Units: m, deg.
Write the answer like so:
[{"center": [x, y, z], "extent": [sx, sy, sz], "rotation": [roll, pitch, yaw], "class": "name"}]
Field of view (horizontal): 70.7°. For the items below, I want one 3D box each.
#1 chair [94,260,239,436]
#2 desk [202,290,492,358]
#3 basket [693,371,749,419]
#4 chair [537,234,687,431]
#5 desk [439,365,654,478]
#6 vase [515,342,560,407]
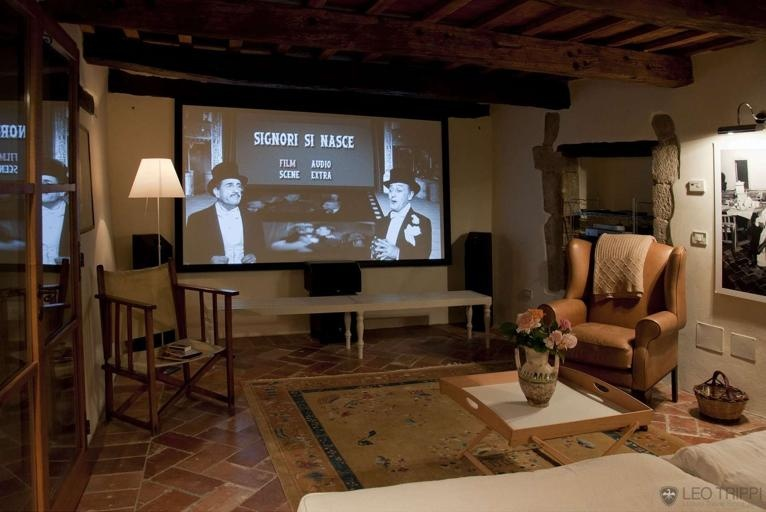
[{"center": [-1.852, 0.734, 4.672], "extent": [0.850, 1.217, 0.945], "rotation": [4, 6, 26], "class": "chair"}, {"center": [-0.226, 0.758, 6.490], "extent": [3.025, 0.663, 1.029], "rotation": [-2, 10, -14], "class": "desk"}, {"center": [2.853, 1.215, 4.585], "extent": [0.393, 0.390, 0.479], "rotation": [1, 5, 30], "class": "basket"}, {"center": [2.186, 0.582, 5.091], "extent": [0.984, 1.403, 1.180], "rotation": [-9, 10, -39], "class": "chair"}, {"center": [1.112, 1.033, 3.808], "extent": [0.918, 0.491, 0.962], "rotation": [-3, 10, -24], "class": "desk"}, {"center": [1.093, 0.841, 3.822], "extent": [0.324, 0.394, 0.247], "rotation": [0, 1, 12], "class": "vase"}]
